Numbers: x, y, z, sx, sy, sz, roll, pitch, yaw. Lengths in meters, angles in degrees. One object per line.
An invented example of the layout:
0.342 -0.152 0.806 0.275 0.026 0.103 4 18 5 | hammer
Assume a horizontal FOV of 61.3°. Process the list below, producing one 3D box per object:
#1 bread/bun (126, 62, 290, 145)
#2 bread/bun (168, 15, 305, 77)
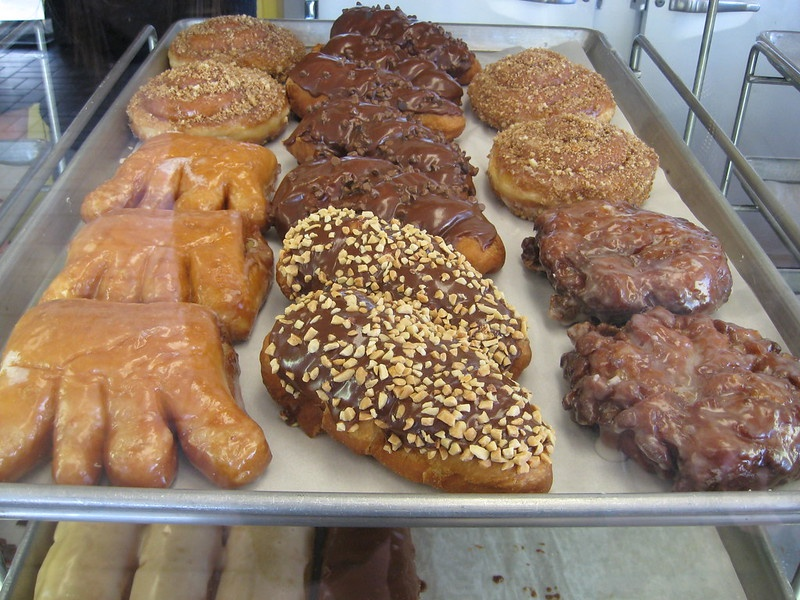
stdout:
-0.674 -0.697 2.407 0.360 0.150 0.416 6 21 2 | bread/bun
-0.653 -1.052 2.770 0.377 0.130 0.352 -5 30 -22 | bread/bun
